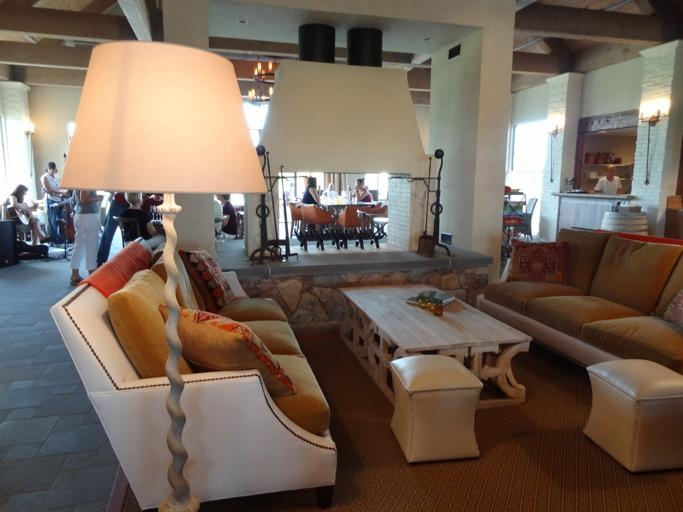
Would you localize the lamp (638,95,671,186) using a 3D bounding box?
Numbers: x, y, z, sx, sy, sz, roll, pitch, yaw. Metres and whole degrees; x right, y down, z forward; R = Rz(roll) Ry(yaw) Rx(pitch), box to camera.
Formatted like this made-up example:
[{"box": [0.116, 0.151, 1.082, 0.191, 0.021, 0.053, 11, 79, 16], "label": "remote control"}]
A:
[{"box": [5.438, -2.023, 8.508, 0.178, 1.478, 0.509, -5, 10, -19], "label": "lamp"}]

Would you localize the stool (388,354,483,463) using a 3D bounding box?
[{"box": [0.619, 0.962, 3.307, 0.561, 0.537, 0.585, -1, 7, -5], "label": "stool"}]

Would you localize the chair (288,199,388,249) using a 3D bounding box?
[{"box": [-0.045, -0.447, 6.525, 1.224, 0.576, 1.182, -3, 9, -7], "label": "chair"}]

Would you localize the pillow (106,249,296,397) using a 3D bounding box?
[{"box": [-0.800, 0.399, 2.496, 0.569, 0.300, 0.910, 3, 10, -17], "label": "pillow"}]

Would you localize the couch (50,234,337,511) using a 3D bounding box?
[{"box": [-0.834, 0.092, 2.710, 1.200, 1.102, 2.197, -3, 14, -14], "label": "couch"}]

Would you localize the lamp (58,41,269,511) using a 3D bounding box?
[{"box": [-0.896, -0.121, 3.356, 1.293, 3.162, 1.282, -1, 3, -22], "label": "lamp"}]

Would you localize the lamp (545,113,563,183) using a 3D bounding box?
[{"box": [4.621, -2.349, 10.578, 0.159, 1.449, 0.408, -5, 10, -20], "label": "lamp"}]

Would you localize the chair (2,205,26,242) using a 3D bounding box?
[{"box": [-5.548, -0.582, 8.240, 0.305, 0.651, 1.560, -8, 11, -32], "label": "chair"}]

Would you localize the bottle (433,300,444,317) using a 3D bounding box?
[{"box": [0.823, 0.439, 4.090, 0.100, 0.161, 0.092, -1, -4, 0], "label": "bottle"}]

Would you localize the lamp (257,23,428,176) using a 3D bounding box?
[{"box": [0.026, -1.600, 5.642, 1.912, 1.323, 0.283, -4, 10, -14], "label": "lamp"}]
